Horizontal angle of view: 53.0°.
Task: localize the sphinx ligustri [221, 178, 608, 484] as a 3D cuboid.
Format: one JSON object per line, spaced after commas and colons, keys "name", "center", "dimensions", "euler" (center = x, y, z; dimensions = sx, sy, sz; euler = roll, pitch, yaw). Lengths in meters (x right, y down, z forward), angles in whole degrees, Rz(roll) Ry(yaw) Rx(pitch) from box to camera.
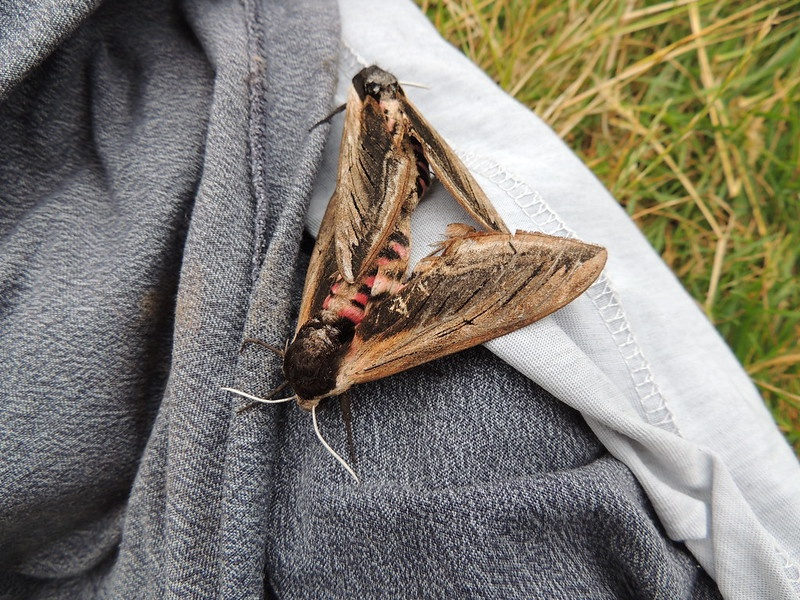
{"name": "sphinx ligustri", "center": [0.048, -0.044, 1.343], "dimensions": [0.554, 0.133, 0.548], "euler": [8, 69, 24]}
